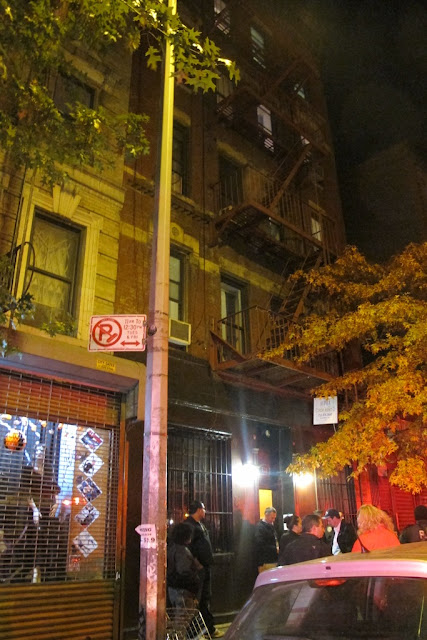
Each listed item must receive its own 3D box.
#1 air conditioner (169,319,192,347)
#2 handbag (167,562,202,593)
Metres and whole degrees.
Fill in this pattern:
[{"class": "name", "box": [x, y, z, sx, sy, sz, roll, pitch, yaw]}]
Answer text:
[{"class": "air conditioner", "box": [-0.714, 0.302, 9.467, 0.177, 0.470, 0.508, -17, -25, 35]}, {"class": "handbag", "box": [-0.332, 3.297, 5.622, 0.488, 0.271, 0.413, -6, -18, 31]}]
